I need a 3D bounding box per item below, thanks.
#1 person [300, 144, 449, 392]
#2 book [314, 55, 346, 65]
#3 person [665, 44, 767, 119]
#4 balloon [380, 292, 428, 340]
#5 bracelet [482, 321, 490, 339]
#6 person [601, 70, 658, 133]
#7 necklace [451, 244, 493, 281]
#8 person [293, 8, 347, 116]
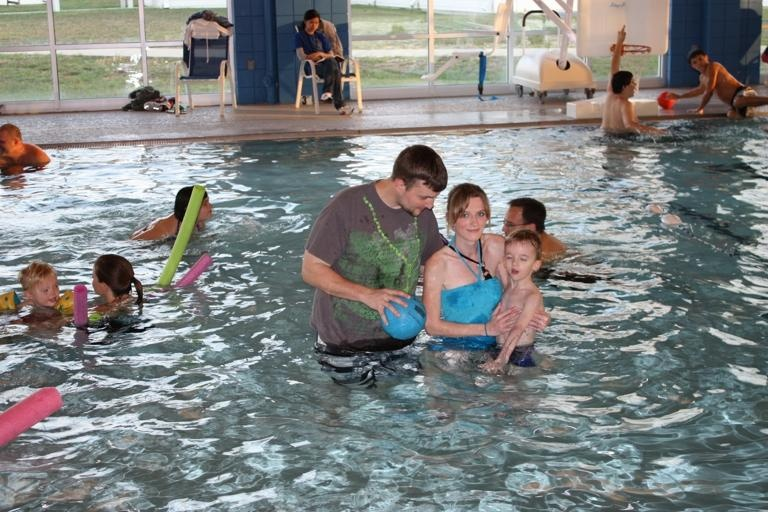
[{"bbox_3d":[-0.050,0.076,3.155,0.769,1.297,0.517,-3,17,2],"label":"person"},{"bbox_3d":[-1.049,-3.703,11.308,0.499,0.096,0.387,-3,9,-17],"label":"book"},{"bbox_3d":[5.648,-2.904,10.091,1.229,1.186,1.346,0,14,9],"label":"person"},{"bbox_3d":[0.118,0.322,3.056,0.226,0.234,0.124,-15,20,-39],"label":"balloon"},{"bbox_3d":[0.567,0.407,3.345,0.027,0.071,0.043,-2,16,6],"label":"bracelet"},{"bbox_3d":[3.625,-2.250,8.842,0.689,0.896,0.637,0,16,10],"label":"person"},{"bbox_3d":[0.503,0.034,3.407,0.310,0.064,0.153,29,19,-5],"label":"necklace"},{"bbox_3d":[-1.182,-3.699,11.416,0.924,2.003,1.295,-5,16,-5],"label":"person"}]
